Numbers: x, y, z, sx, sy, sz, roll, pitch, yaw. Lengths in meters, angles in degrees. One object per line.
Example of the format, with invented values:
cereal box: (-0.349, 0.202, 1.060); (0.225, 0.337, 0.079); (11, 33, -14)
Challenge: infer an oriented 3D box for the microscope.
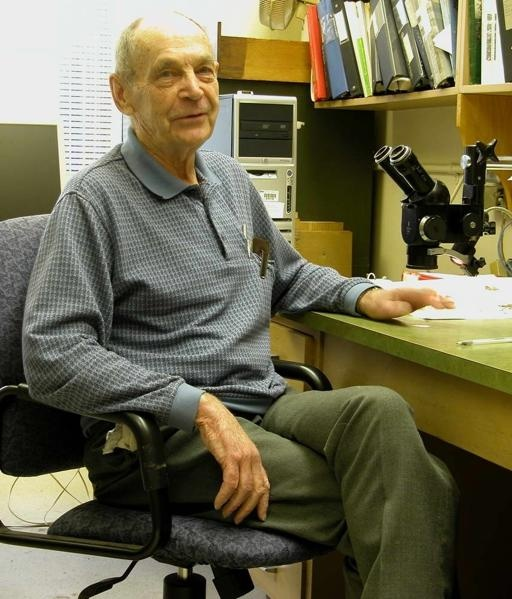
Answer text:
microscope: (0.325, -0.173, 1.074); (0.227, 0.260, 0.196); (-1, 11, -10)
